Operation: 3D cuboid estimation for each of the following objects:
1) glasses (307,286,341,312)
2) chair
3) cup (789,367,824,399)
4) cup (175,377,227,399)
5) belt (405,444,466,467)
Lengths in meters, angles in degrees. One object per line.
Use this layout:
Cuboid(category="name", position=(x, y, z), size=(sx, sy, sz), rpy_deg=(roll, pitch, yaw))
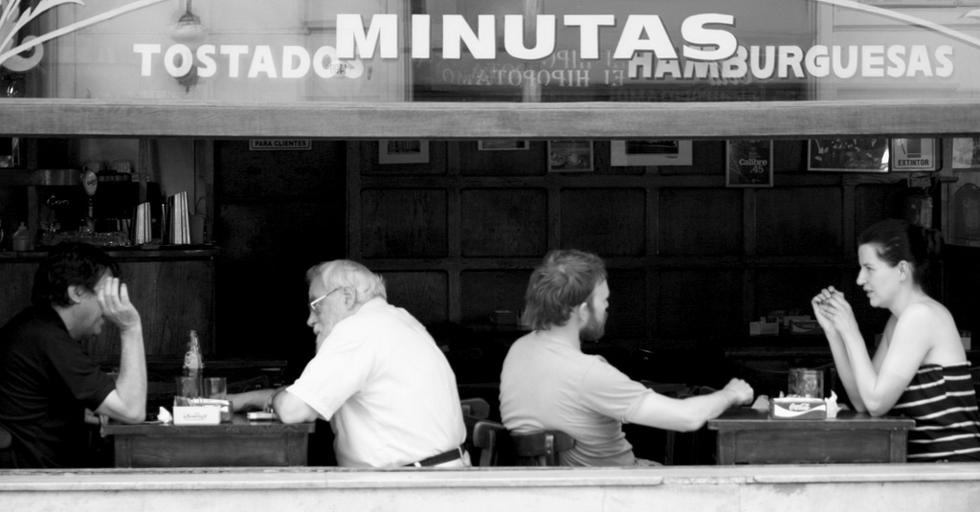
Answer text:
Cuboid(category="glasses", position=(-1.110, 0.284, 10.825), size=(0.173, 0.051, 0.163), rpy_deg=(-34, 3, -8))
Cuboid(category="chair", position=(0.193, 1.230, 11.044), size=(0.586, 0.610, 0.543), rpy_deg=(-1, -2, -14))
Cuboid(category="cup", position=(2.192, 0.851, 10.865), size=(0.224, 0.196, 0.368), rpy_deg=(3, 1, 15))
Cuboid(category="cup", position=(-1.919, 0.885, 10.786), size=(0.277, 0.172, 0.150), rpy_deg=(1, -3, -7))
Cuboid(category="belt", position=(-0.336, 1.353, 10.718), size=(0.233, 0.082, 0.170), rpy_deg=(-20, 3, 4))
